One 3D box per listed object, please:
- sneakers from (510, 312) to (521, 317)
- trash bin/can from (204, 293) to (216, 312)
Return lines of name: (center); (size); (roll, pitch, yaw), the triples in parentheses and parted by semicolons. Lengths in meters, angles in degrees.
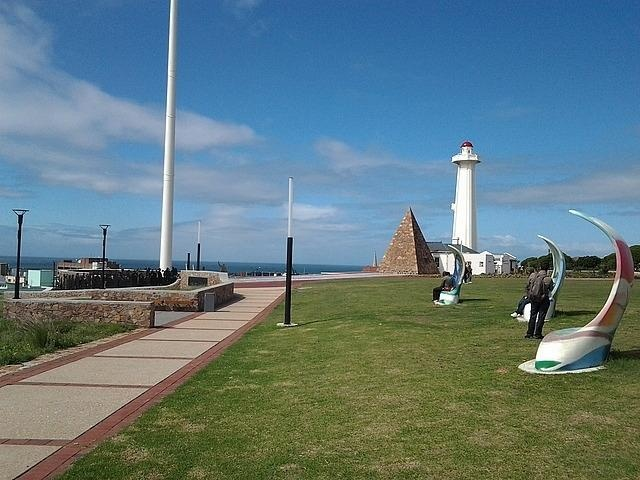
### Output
sneakers: (6.391, 2.432, 15.036); (0.134, 0.129, 0.316); (-1, -6, -9)
trash bin/can: (-5.002, 2.808, 20.731); (0.538, 0.816, 0.421); (-1, -2, 5)
